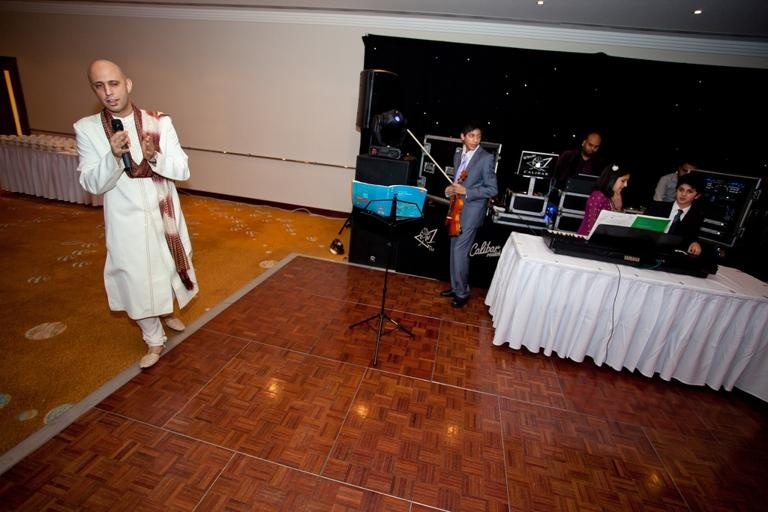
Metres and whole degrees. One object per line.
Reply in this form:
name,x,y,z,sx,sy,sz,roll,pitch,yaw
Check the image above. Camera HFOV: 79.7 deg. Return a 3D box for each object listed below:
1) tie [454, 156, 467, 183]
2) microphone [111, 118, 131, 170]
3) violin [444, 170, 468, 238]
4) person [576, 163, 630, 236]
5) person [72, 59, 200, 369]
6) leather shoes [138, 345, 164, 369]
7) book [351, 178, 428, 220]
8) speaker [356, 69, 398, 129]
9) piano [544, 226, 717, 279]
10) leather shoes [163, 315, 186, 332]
tie,1.029,-1.156,6.135,0.081,0.315,0.164,38,20,-8
microphone,-2.557,-1.072,4.464,0.114,0.532,0.108,-13,1,-5
violin,0.936,-0.531,6.016,0.217,0.571,0.169,10,23,8
person,2.757,-0.707,5.846,0.352,1.116,0.469,6,51,15
person,-2.531,-0.407,4.853,1.005,2.980,0.902,25,29,36
leather shoes,-2.516,1.080,4.997,0.133,0.075,0.276,4,27,2
book,0.041,-0.627,5.050,0.546,0.279,0.239,19,33,18
speaker,-0.095,-2.402,7.028,0.425,0.834,1.139,11,24,10
piano,2.860,-0.105,5.249,1.876,0.440,0.185,10,24,6
leather shoes,-2.413,0.759,5.361,0.327,0.134,0.133,14,41,32
